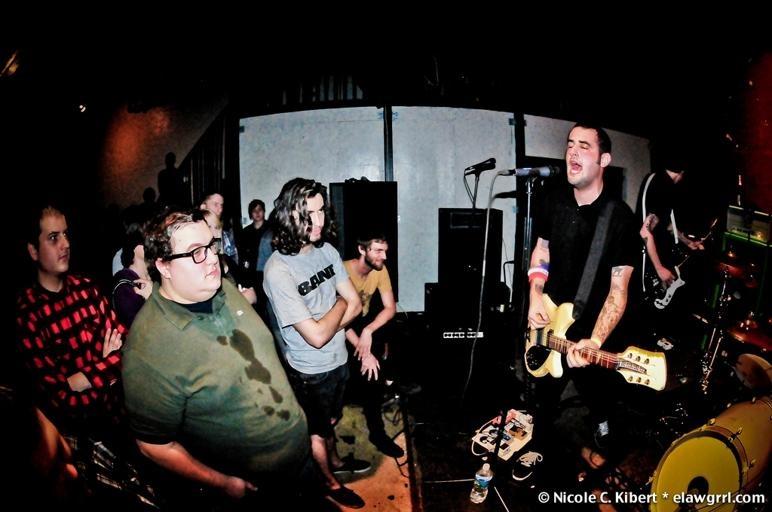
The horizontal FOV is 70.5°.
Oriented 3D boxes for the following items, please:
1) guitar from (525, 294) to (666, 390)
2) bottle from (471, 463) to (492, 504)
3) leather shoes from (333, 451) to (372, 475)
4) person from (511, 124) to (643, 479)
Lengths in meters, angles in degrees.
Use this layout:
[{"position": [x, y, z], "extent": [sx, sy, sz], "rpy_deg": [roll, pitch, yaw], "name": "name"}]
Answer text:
[{"position": [2.048, 0.914, 5.373], "extent": [1.261, 0.626, 1.272], "rpy_deg": [15, 10, 26], "name": "guitar"}, {"position": [0.906, 2.158, 5.183], "extent": [0.224, 0.370, 0.174], "rpy_deg": [-1, 11, 2], "name": "bottle"}, {"position": [-0.344, 2.087, 5.490], "extent": [0.490, 0.192, 0.164], "rpy_deg": [2, 19, -2], "name": "leather shoes"}, {"position": [1.881, 0.406, 5.365], "extent": [0.975, 3.309, 0.762], "rpy_deg": [8, 14, 40], "name": "person"}]
